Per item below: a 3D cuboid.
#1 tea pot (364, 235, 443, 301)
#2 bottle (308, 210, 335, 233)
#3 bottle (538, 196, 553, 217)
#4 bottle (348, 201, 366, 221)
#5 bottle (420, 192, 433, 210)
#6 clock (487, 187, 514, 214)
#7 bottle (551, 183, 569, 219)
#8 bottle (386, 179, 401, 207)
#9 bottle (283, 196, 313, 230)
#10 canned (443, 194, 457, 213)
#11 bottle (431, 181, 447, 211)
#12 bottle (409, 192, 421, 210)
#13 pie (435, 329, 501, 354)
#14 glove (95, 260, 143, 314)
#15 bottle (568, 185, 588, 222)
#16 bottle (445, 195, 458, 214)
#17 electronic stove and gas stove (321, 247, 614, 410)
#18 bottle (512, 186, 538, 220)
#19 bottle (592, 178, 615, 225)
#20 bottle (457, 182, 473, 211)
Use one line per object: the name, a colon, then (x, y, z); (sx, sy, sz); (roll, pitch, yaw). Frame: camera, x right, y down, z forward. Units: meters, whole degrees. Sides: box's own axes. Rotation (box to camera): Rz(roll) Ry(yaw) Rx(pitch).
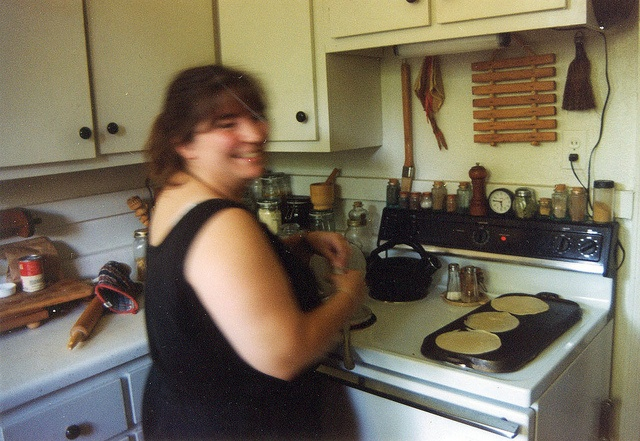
tea pot: (0.321, 0.165, 2.171); (0.271, 0.251, 0.389); (9, 17, 37)
bottle: (0.010, 0.002, 2.429); (0.095, 0.096, 0.103); (-3, 10, -4)
bottle: (0.854, -0.052, 2.033); (0.062, 0.099, 0.061); (-1, 8, 0)
bottle: (0.163, -0.041, 2.285); (0.079, 0.075, 0.079); (-1, 11, -1)
bottle: (0.449, -0.080, 2.202); (0.048, 0.065, 0.065); (0, 6, 3)
clock: (0.718, -0.077, 2.060); (0.032, 0.097, 0.094); (-3, 10, -43)
bottle: (0.902, -0.069, 1.958); (0.054, 0.127, 0.042); (2, 10, 24)
bottle: (0.321, -0.121, 2.289); (0.054, 0.118, 0.046); (0, 9, 11)
bottle: (-0.103, -0.031, 2.446); (0.161, 0.152, 0.113); (-8, 12, -40)
canned: (0.540, -0.071, 2.098); (0.059, 0.091, 0.060); (-2, 4, -33)
bottle: (0.500, -0.104, 2.186); (0.066, 0.122, 0.055); (-1, 9, 9)
bottle: (0.402, -0.083, 2.215); (0.050, 0.072, 0.031); (1, 10, 18)
pie: (0.489, 0.402, 1.725); (0.209, 0.025, 0.160); (1, 10, 16)
glove: (-0.835, 0.265, 2.150); (0.216, 0.199, 0.188); (-3, 15, -24)
bottle: (0.958, -0.060, 1.937); (0.068, 0.122, 0.063); (-2, 9, 0)
bottle: (0.544, -0.070, 2.154); (0.045, 0.068, 0.023); (0, 10, 15)
electronic stove and gas stove: (0.524, 0.385, 1.793); (0.570, 0.195, 0.593); (7, 13, 39)
bottle: (0.798, -0.069, 2.022); (0.100, 0.113, 0.076); (-9, 12, -35)
bottle: (1.032, -0.069, 1.899); (0.070, 0.151, 0.072); (-2, 9, 0)
bottle: (0.589, -0.098, 2.132); (0.062, 0.120, 0.027); (0, 10, 14)
